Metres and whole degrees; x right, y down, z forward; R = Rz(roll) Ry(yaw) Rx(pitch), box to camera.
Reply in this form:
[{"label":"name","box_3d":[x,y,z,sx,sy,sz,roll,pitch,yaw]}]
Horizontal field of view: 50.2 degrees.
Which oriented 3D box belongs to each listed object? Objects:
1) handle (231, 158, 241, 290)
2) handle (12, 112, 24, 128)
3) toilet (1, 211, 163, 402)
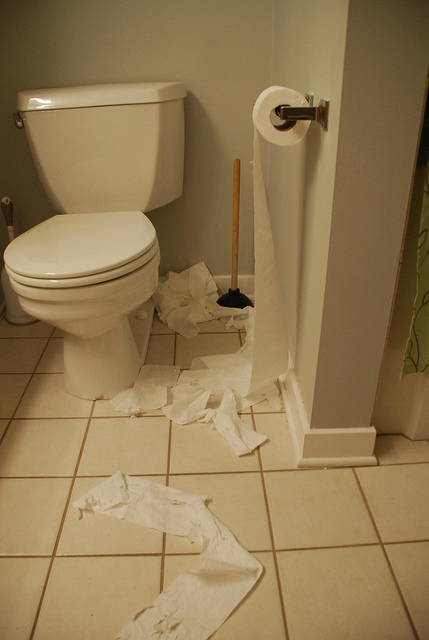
[{"label":"handle","box_3d":[0.070,-0.310,1.493,0.021,0.027,0.448,0,82,13]},{"label":"handle","box_3d":[-0.548,-0.561,1.281,0.026,0.046,0.010,-6,15,-17]},{"label":"toilet","box_3d":[-0.272,-0.095,1.236,0.342,0.454,0.511,-2,40,-2]}]
